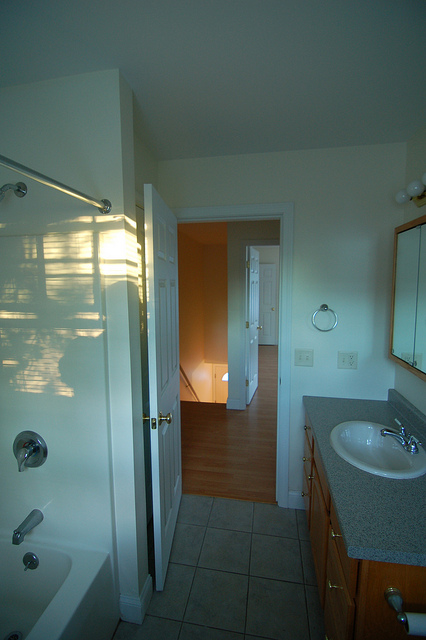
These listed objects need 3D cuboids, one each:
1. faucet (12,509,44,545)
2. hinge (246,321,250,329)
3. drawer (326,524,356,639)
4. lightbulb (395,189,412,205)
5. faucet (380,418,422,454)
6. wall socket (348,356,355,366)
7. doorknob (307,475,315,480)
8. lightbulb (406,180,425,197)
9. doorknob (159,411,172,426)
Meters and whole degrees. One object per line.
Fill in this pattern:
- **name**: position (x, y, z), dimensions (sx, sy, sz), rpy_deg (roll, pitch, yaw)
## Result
- **faucet**: position (-0.781, 0.876, 1.986), dimensions (0.074, 0.078, 0.143), rpy_deg (9, 21, 7)
- **hinge**: position (0.337, 0.052, 4.568), dimensions (0.014, 0.075, 0.104), rpy_deg (1, 10, 17)
- **drawer**: position (0.403, 0.920, 1.658), dimensions (0.160, 0.257, 0.256), rpy_deg (1, 7, 11)
- **lightbulb**: position (0.966, -0.635, 2.417), dimensions (0.071, 0.080, 0.088), rpy_deg (12, 42, 33)
- **faucet**: position (0.805, 0.496, 2.036), dimensions (0.067, 0.117, 0.272), rpy_deg (-2, 3, 6)
- **wall socket**: position (0.784, 0.236, 2.679), dimensions (0.031, 0.054, 0.007), rpy_deg (-1, 9, 2)
- **doorknob**: position (0.495, 0.800, 2.380), dimensions (0.037, 0.027, 0.026), rpy_deg (2, 33, 11)
- **lightbulb**: position (0.929, -0.602, 2.181), dimensions (0.061, 0.070, 0.076), rpy_deg (-8, -21, 11)
- **doorknob**: position (-0.218, 0.461, 2.169), dimensions (0.059, 0.078, 0.048), rpy_deg (1, -8, 4)
